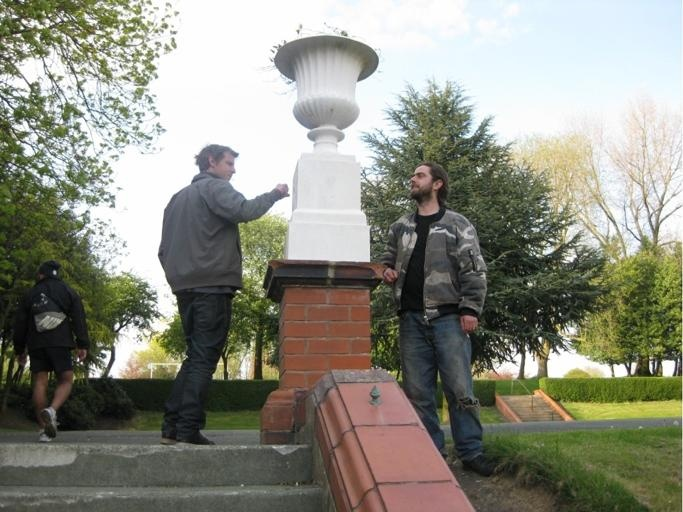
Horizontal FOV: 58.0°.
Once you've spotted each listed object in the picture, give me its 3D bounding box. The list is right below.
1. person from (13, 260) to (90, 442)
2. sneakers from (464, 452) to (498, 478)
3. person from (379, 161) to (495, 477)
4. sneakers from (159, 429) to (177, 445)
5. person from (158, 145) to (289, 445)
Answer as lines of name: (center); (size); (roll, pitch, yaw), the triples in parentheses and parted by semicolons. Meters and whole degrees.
person: (-3.603, 0.978, 7.679); (0.909, 1.892, 0.538); (-1, -10, 10)
sneakers: (1.152, 1.735, 5.156); (0.293, 0.134, 0.141); (-5, 4, 26)
person: (0.811, 0.475, 5.304); (0.855, 2.662, 0.362); (-2, -11, 16)
sneakers: (-1.564, 1.634, 5.564); (0.082, 0.098, 0.226); (3, -24, -2)
person: (-1.240, 0.274, 5.683); (1.179, 2.811, 0.510); (-2, -11, 14)
